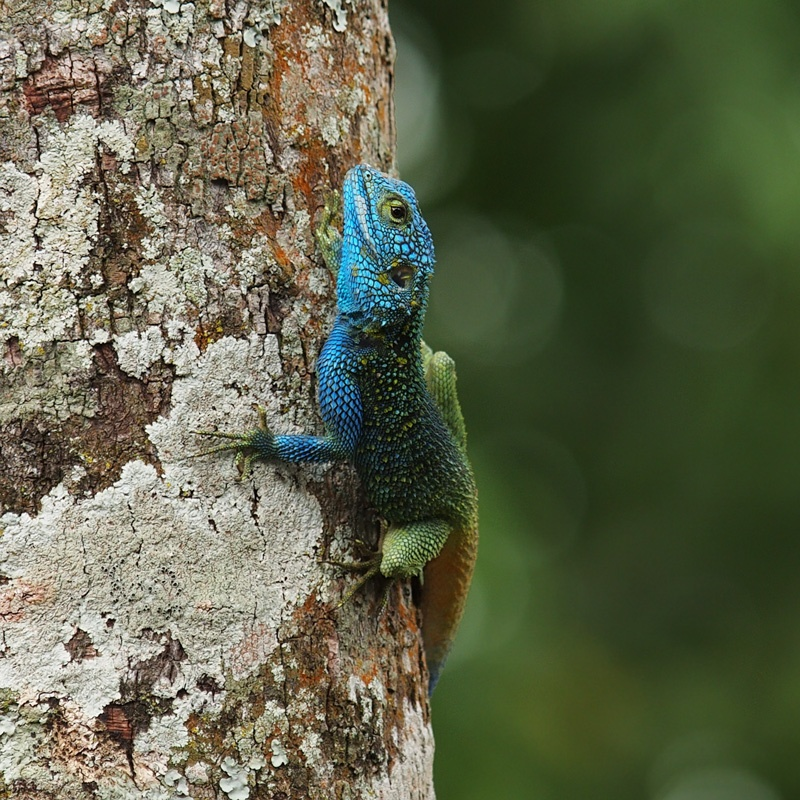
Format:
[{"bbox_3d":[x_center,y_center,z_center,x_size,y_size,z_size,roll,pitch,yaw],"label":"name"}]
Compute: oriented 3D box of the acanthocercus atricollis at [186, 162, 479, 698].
[{"bbox_3d":[-0.189,0.112,4.607,0.425,1.106,1.859,-5,88,9],"label":"acanthocercus atricollis"}]
